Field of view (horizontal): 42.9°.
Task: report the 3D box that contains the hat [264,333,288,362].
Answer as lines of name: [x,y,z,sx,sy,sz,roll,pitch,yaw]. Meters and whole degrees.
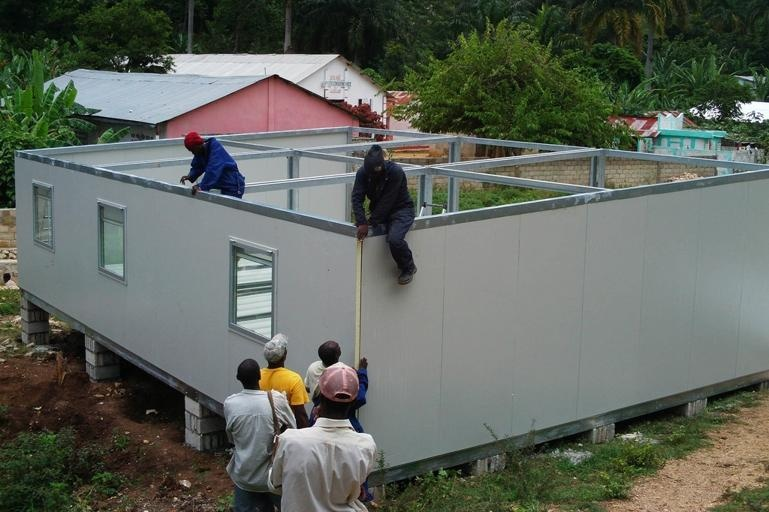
hat: [-1.640,1.411,14.977,0.289,0.434,0.235,16,-3,13]

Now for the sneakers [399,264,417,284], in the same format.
sneakers: [0.384,0.261,15.941,0.161,0.185,0.420,12,40,20]

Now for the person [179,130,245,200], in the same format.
person: [-3.251,-1.736,18.504,1.141,1.183,1.581,-3,11,-15]

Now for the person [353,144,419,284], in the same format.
person: [0.019,-0.699,16.085,1.047,2.233,1.086,0,10,-2]

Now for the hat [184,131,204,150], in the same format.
hat: [-3.633,-2.213,18.710,0.354,0.331,0.405,-2,11,-12]
